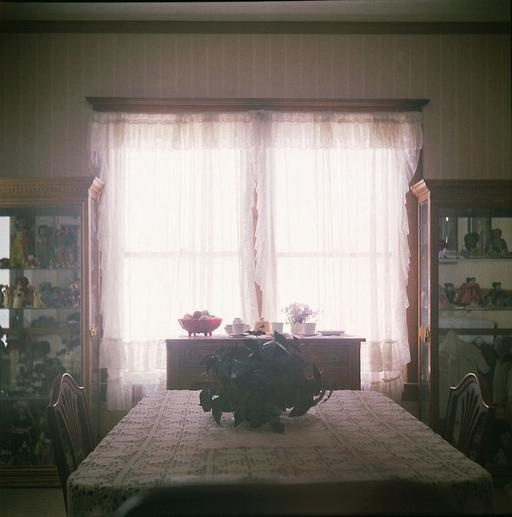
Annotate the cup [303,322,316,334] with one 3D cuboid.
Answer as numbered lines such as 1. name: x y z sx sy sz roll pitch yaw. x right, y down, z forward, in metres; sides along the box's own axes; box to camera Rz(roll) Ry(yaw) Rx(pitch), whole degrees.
1. cup: 0.352 0.453 3.533 0.057 0.066 0.072 1 -10 -11

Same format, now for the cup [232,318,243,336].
1. cup: -0.126 0.446 3.519 0.050 0.076 0.089 -1 -10 0

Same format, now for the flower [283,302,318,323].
1. flower: 0.283 0.362 3.640 0.123 0.128 0.157 1 -7 -4
